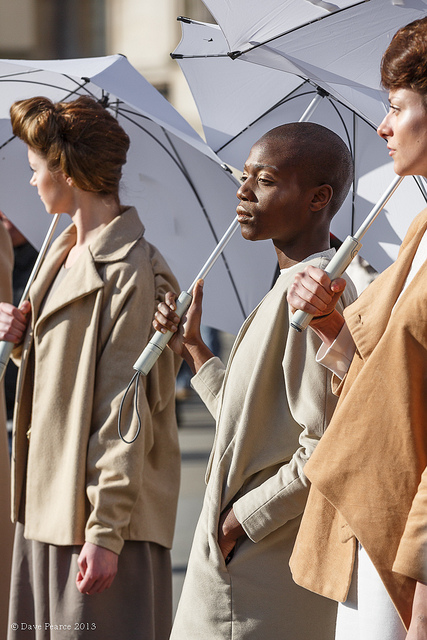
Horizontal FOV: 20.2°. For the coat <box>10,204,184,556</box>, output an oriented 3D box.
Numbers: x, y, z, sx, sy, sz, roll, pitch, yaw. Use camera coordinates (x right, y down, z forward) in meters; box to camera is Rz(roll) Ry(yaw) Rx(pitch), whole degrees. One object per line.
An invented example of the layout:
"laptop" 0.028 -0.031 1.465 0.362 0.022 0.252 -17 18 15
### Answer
"coat" -0.408 0.145 3.826 0.565 1.127 0.544 4 -4 12
